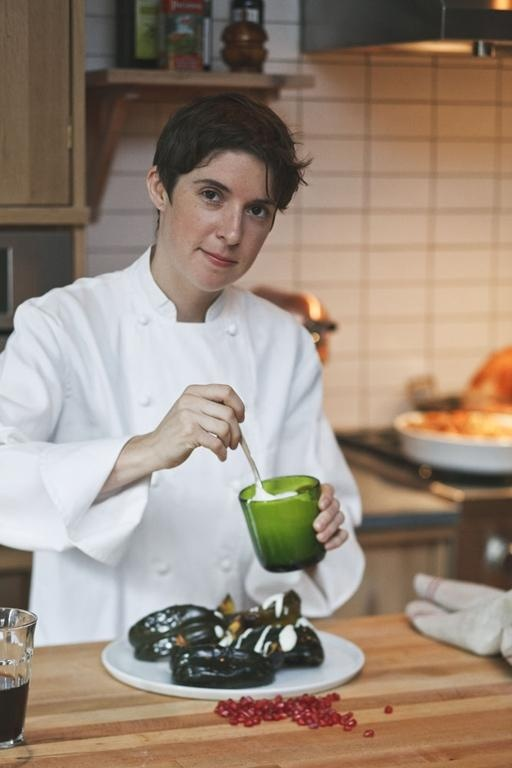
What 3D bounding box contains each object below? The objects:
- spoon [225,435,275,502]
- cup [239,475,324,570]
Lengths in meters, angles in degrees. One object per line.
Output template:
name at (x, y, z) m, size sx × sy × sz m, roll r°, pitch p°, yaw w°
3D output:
spoon at (-0.003, 0.086, 0.824) m, size 0.023 × 0.084 × 0.014 m, roll -20°, pitch 4°, yaw 34°
cup at (0.027, 0.135, 0.817) m, size 0.100 × 0.091 × 0.095 m, roll -10°, pitch 9°, yaw 2°
